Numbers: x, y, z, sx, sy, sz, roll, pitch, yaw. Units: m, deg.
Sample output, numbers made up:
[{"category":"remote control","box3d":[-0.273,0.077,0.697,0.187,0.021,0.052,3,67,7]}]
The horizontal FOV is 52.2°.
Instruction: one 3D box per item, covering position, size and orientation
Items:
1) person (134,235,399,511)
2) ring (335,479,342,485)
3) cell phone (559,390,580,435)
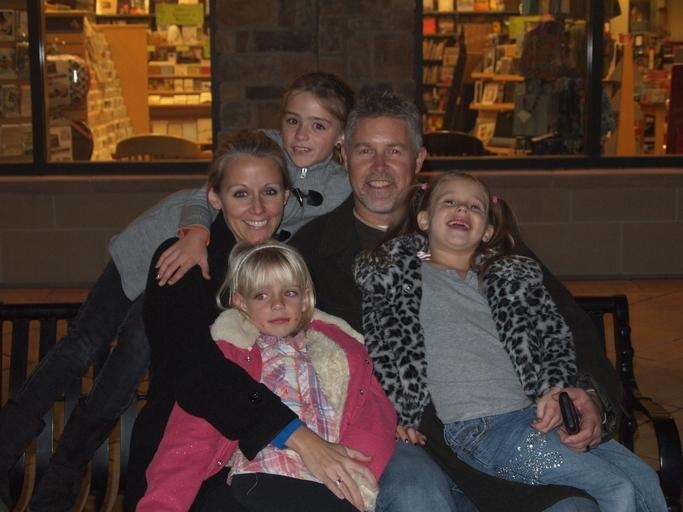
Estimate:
[{"category":"person","box3d":[-0.288,0.595,3.284,1.062,1.307,0.454,1,-20,-11]},{"category":"ring","box3d":[-0.016,1.006,3.115,0.039,0.023,0.021,-11,1,7]},{"category":"cell phone","box3d":[1.034,0.722,3.217,0.044,0.170,0.093,-6,3,14]}]
